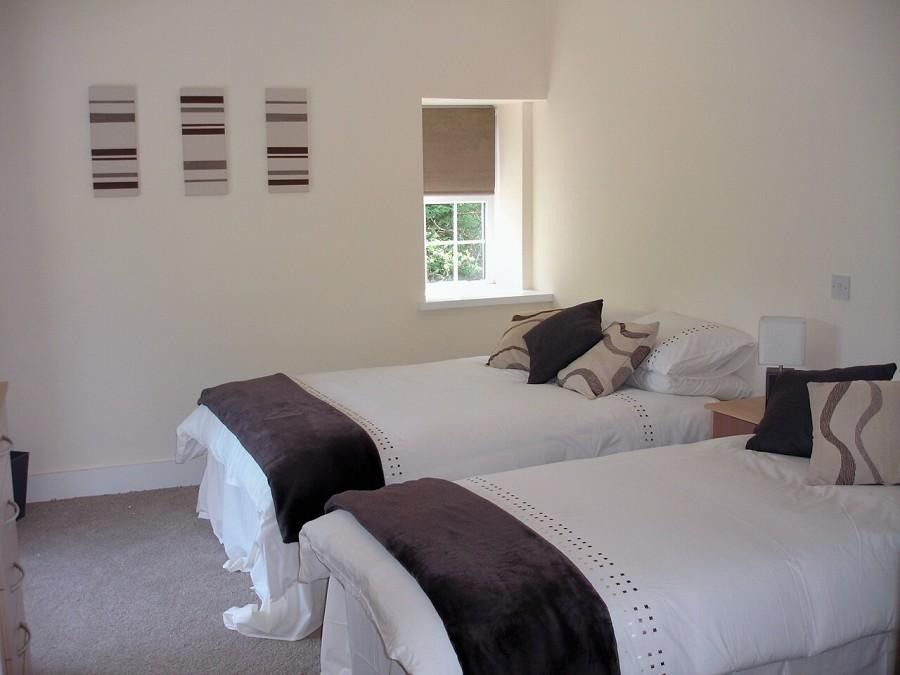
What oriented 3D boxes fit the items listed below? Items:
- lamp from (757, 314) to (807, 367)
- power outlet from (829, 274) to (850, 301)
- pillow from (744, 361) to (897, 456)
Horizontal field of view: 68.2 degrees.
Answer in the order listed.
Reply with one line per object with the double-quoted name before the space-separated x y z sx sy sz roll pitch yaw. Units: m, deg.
"lamp" 1.641 0.015 3.301 0.215 0.259 0.239 3 9 29
"power outlet" 1.895 -0.246 3.230 0.013 0.114 0.103 -3 14 -23
"pillow" 1.443 0.318 2.810 0.449 0.476 0.136 -12 -29 39
